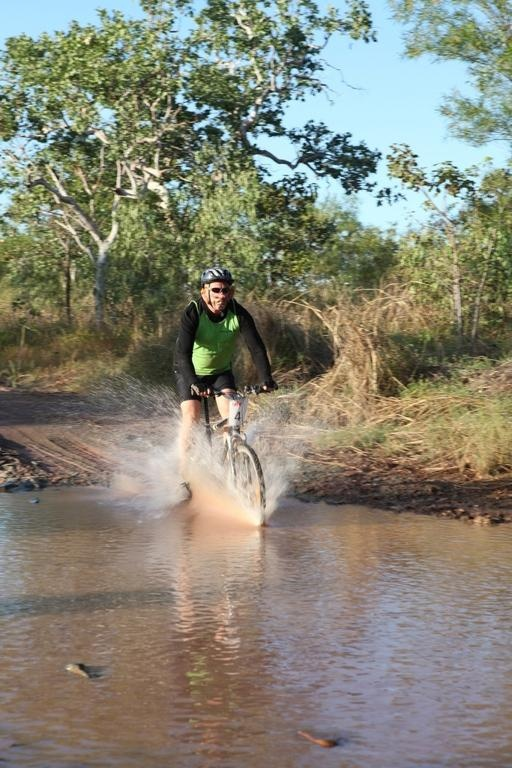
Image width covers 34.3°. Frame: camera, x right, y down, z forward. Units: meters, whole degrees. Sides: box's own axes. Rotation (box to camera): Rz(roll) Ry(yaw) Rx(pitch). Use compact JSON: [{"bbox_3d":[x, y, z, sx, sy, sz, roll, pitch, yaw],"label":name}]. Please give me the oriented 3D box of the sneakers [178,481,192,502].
[{"bbox_3d":[-0.712,1.091,8.414,0.077,0.190,0.152,-10,-9,-25],"label":"sneakers"}]
